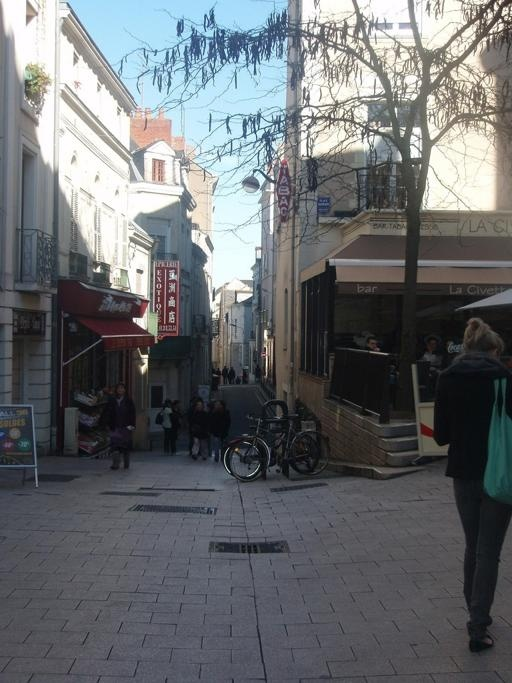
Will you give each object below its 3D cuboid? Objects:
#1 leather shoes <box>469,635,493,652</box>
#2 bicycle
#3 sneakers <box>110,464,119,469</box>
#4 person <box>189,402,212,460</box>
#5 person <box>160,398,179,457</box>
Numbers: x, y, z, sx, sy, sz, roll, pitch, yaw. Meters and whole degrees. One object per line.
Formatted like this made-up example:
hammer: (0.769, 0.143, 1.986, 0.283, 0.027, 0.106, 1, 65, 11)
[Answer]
leather shoes: (1.172, 1.584, 4.087, 0.111, 0.058, 0.069, -20, 46, -8)
bicycle: (0.299, 1.579, 12.573, 1.742, 1.373, 0.995, 1, -5, -16)
sneakers: (-2.447, 2.185, 13.608, 0.116, 0.095, 0.065, 17, -12, -3)
person: (-1.330, 2.119, 18.628, 0.445, 1.497, 1.824, -1, -2, -5)
person: (-2.408, 2.439, 21.961, 0.517, 1.543, 1.616, -1, -2, -7)
